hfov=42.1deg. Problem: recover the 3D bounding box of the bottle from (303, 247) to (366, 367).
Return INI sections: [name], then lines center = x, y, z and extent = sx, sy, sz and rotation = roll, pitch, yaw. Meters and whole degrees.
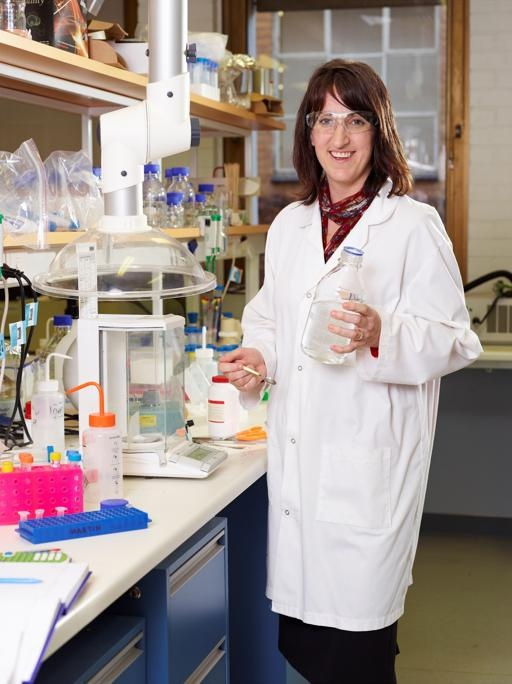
[bottle]
center = 0.145, -0.060, 1.279
extent = 0.118, 0.231, 0.241
rotation = 1, 4, 8
